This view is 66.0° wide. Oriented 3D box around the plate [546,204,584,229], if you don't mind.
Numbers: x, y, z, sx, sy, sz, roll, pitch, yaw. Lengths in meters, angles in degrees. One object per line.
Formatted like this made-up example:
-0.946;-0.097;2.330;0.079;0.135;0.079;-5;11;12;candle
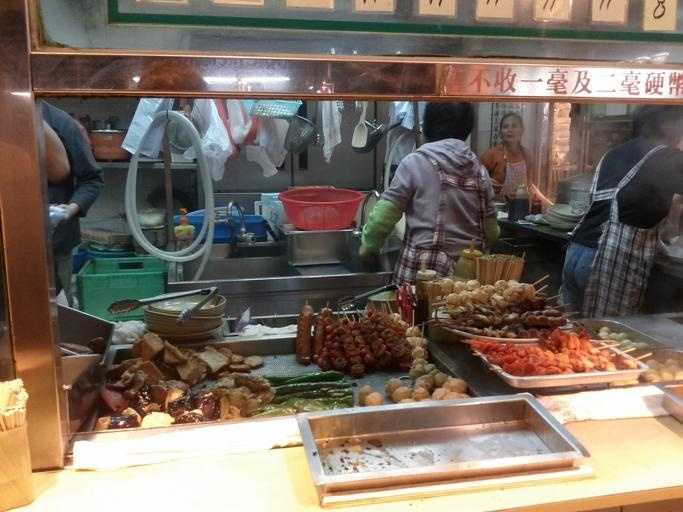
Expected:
1.809;-0.325;4.284;0.238;0.079;0.237;14;26;35;plate

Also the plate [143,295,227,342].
-0.658;0.229;2.180;0.246;0.091;0.226;3;11;19;plate

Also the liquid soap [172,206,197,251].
-1.040;-0.153;3.520;0.149;0.302;0.121;9;35;-1;liquid soap

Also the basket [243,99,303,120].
-0.451;-1.003;3.605;0.316;0.119;0.355;-6;19;-16;basket

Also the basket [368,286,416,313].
0.196;0.220;2.525;0.174;0.092;0.161;0;1;-5;basket

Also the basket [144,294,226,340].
-0.656;0.211;2.264;0.377;0.177;0.299;-6;11;-30;basket

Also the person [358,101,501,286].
0.518;-0.359;3.096;0.681;1.028;0.522;0;12;-2;person

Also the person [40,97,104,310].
-1.314;-0.241;2.630;0.269;1.024;0.668;-9;21;-22;person

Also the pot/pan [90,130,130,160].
-1.490;-0.708;3.414;0.234;0.131;0.223;3;7;15;pot/pan

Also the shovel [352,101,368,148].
0.158;-1.012;4.246;0.146;0.503;0.072;17;60;2;shovel

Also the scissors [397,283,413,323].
0.279;0.212;2.319;0.015;0.183;0.155;-3;8;-17;scissors

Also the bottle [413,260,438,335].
0.339;0.185;2.217;0.095;0.276;0.114;-2;15;-14;bottle

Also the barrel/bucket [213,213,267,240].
-0.766;-0.222;4.029;0.341;0.098;0.213;1;12;-8;barrel/bucket

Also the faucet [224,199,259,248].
-0.745;-0.263;3.919;0.187;0.296;0.433;-4;19;-10;faucet

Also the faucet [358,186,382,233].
0.200;-0.325;3.859;0.150;0.302;0.065;-9;39;-18;faucet

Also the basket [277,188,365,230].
-0.135;-0.324;3.552;0.598;0.282;0.324;-5;14;-17;basket
